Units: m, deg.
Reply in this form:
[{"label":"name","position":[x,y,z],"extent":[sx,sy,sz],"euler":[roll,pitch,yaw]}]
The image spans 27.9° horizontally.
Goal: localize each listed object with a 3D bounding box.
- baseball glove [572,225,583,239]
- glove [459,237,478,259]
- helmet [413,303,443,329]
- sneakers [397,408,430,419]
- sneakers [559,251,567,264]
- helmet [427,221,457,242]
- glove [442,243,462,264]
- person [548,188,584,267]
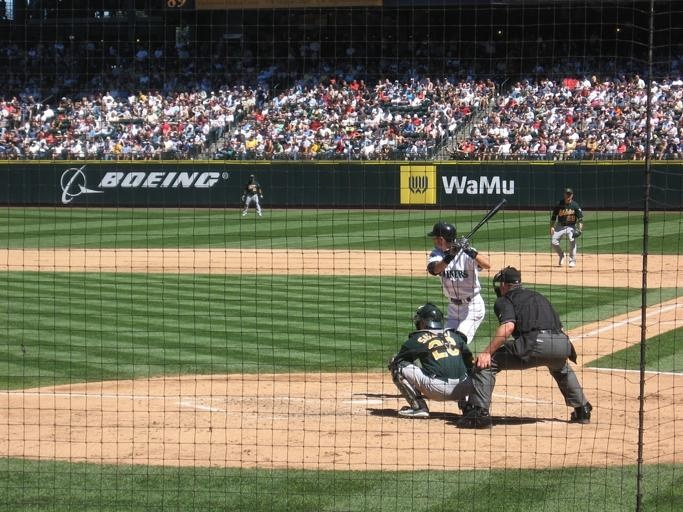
[{"label":"baseball glove","position":[6.734,-0.695,39.354],"extent":[0.182,0.314,0.546],"euler":[2,9,17]},{"label":"glove","position":[2.555,-0.176,28.596],"extent":[0.347,0.439,0.141],"euler":[1,-20,-18]},{"label":"helmet","position":[1.775,1.189,28.038],"extent":[0.468,0.493,0.561],"euler":[1,20,-13]},{"label":"sneakers","position":[1.462,3.156,27.875],"extent":[0.682,0.253,0.227],"euler":[4,2,8]},{"label":"sneakers","position":[6.276,0.038,39.357],"extent":[0.128,0.369,0.161],"euler":[6,-12,40]},{"label":"helmet","position":[2.063,-0.535,28.605],"extent":[0.497,0.273,0.362],"euler":[12,20,22]},{"label":"glove","position":[2.257,-0.060,28.402],"extent":[0.194,0.241,0.781],"euler":[22,18,7]},{"label":"person","position":[6.425,-0.808,39.449],"extent":[0.847,2.167,1.436],"euler":[1,9,9]}]
